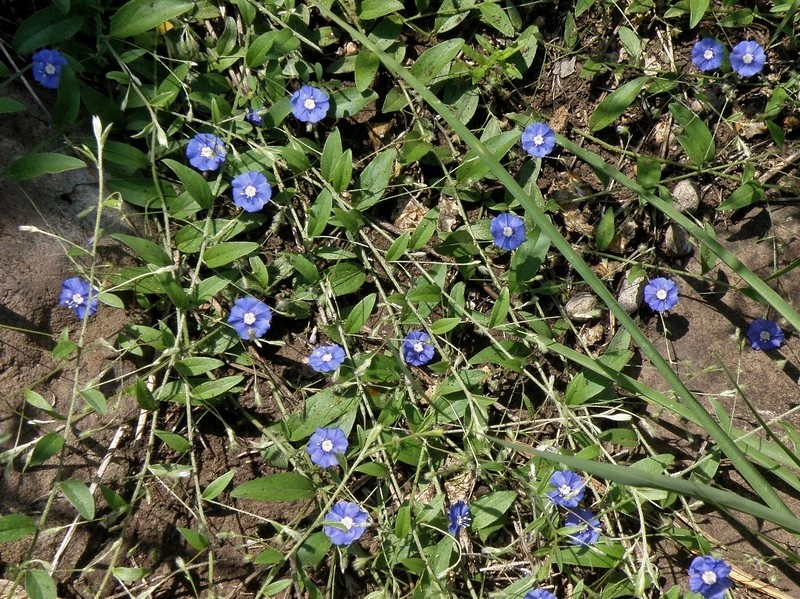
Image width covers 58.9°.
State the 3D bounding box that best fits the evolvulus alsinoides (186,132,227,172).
[{"bbox_3d":[-0.828,-0.626,3.044,0.172,0.218,0.158,-1,81,-2],"label":"evolvulus alsinoides"}]

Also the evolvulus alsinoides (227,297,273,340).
[{"bbox_3d":[-0.636,0.095,3.074,0.172,0.241,0.171,24,81,2],"label":"evolvulus alsinoides"}]

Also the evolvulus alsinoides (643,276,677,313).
[{"bbox_3d":[1.165,-0.026,3.179,0.138,0.100,0.141,-36,84,-6],"label":"evolvulus alsinoides"}]

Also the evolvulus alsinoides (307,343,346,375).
[{"bbox_3d":[-0.306,0.258,3.060,0.148,0.275,0.111,8,81,0],"label":"evolvulus alsinoides"}]

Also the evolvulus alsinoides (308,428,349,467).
[{"bbox_3d":[-0.295,0.598,2.858,0.162,0.256,0.165,-8,81,-2],"label":"evolvulus alsinoides"}]

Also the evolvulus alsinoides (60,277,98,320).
[{"bbox_3d":[-1.292,0.021,2.895,0.183,0.042,0.192,7,85,18],"label":"evolvulus alsinoides"}]

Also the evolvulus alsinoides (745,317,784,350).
[{"bbox_3d":[1.628,0.152,3.164,0.135,0.099,0.134,2,81,-1],"label":"evolvulus alsinoides"}]

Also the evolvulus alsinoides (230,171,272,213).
[{"bbox_3d":[-0.638,-0.459,3.055,0.161,0.095,0.177,-30,83,-6],"label":"evolvulus alsinoides"}]
